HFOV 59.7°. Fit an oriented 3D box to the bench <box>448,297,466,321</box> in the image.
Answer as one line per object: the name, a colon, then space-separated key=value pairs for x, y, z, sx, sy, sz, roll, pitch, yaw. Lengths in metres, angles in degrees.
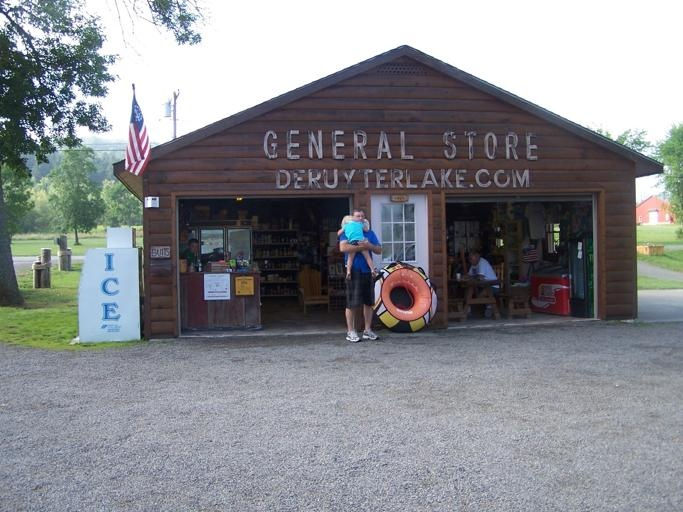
bench: x=2.359 y=1.091 z=12.250 sx=0.325 sy=0.317 sz=1.331 roll=-2 pitch=-1 yaw=10

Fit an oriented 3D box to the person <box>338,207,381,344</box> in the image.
person: x=0.306 y=0.315 z=9.701 sx=0.633 sy=2.138 sz=0.435 roll=-2 pitch=-1 yaw=-3

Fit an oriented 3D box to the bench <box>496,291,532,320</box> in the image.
bench: x=3.546 y=1.048 z=12.282 sx=0.482 sy=0.322 sz=0.495 roll=0 pitch=-2 yaw=-18

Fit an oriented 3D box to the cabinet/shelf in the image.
cabinet/shelf: x=-1.265 y=0.240 z=16.661 sx=2.346 sy=2.091 sz=1.499 roll=-1 pitch=5 yaw=-16

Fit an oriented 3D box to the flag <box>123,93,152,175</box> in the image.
flag: x=-3.490 y=-2.120 z=10.185 sx=0.406 sy=1.474 sz=0.707 roll=-1 pitch=-1 yaw=-26

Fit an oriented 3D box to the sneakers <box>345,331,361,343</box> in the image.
sneakers: x=0.190 y=1.303 z=9.635 sx=0.239 sy=0.171 sz=0.319 roll=-2 pitch=-1 yaw=-1

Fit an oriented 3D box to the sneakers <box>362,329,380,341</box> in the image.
sneakers: x=0.463 y=1.302 z=9.725 sx=0.307 sy=0.153 sz=0.108 roll=-1 pitch=0 yaw=19

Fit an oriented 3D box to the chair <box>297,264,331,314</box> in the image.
chair: x=-0.674 y=0.801 z=14.622 sx=0.712 sy=1.073 sz=1.379 roll=-2 pitch=-1 yaw=-4

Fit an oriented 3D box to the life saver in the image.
life saver: x=1.103 y=0.701 z=10.253 sx=1.140 sy=1.202 sz=0.375 roll=7 pitch=-19 yaw=-30
